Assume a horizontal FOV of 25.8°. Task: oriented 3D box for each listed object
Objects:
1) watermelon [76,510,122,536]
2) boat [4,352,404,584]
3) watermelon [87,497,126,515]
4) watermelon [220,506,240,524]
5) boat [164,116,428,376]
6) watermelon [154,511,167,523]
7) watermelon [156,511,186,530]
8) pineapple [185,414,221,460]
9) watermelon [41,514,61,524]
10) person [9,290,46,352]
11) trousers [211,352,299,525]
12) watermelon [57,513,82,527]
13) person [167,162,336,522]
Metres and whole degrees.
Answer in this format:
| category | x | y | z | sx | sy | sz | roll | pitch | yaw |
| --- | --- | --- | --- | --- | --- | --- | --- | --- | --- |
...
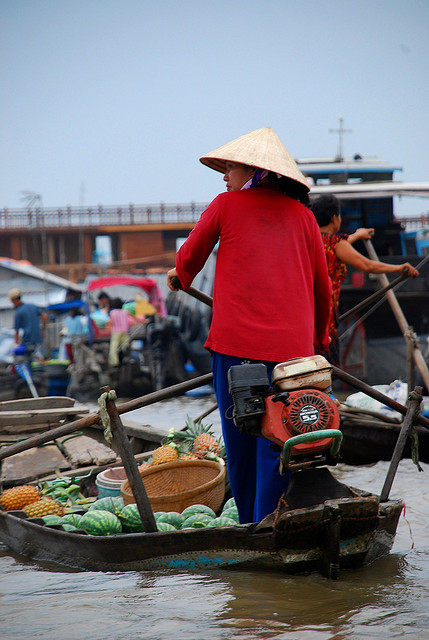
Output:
| category | x | y | z | sx | sy | sz | roll | pitch | yaw |
| --- | --- | --- | --- | --- | --- | --- | --- | --- | --- |
| watermelon | -0.586 | 1.049 | 4.818 | 0.177 | 0.120 | 0.124 | 2 | 7 | 14 |
| boat | -0.289 | 0.704 | 4.882 | 1.154 | 0.812 | 2.393 | 0 | -3 | -26 |
| watermelon | -0.598 | 1.000 | 5.037 | 0.140 | 0.076 | 0.090 | -9 | -17 | -1 |
| watermelon | 0.094 | 1.047 | 5.032 | 0.144 | 0.096 | 0.103 | 0 | -13 | -20 |
| boat | 2.105 | -1.369 | 17.613 | 5.198 | 5.436 | 3.926 | -4 | 9 | -13 |
| watermelon | -0.281 | 1.018 | 4.820 | 0.079 | 0.047 | 0.089 | 0 | -35 | -4 |
| watermelon | -0.225 | 1.039 | 4.860 | 0.088 | 0.058 | 0.104 | -3 | -1 | 0 |
| pineapple | -0.071 | 0.771 | 6.101 | 0.182 | 0.241 | 0.166 | -1 | 7 | 41 |
| watermelon | -0.877 | 1.077 | 5.066 | 0.060 | 0.032 | 0.042 | -6 | -22 | 25 |
| person | -3.300 | 0.008 | 16.453 | 0.563 | 1.076 | 0.876 | -10 | 10 | -12 |
| trousers | 0.147 | 0.537 | 4.308 | 0.464 | 0.751 | 0.594 | -4 | 8 | -7 |
| watermelon | -0.772 | 1.068 | 4.993 | 0.089 | 0.047 | 0.054 | -9 | -21 | -2 |
| person | 0.262 | 0.110 | 4.333 | 0.708 | 1.700 | 0.458 | -10 | 11 | -15 |
